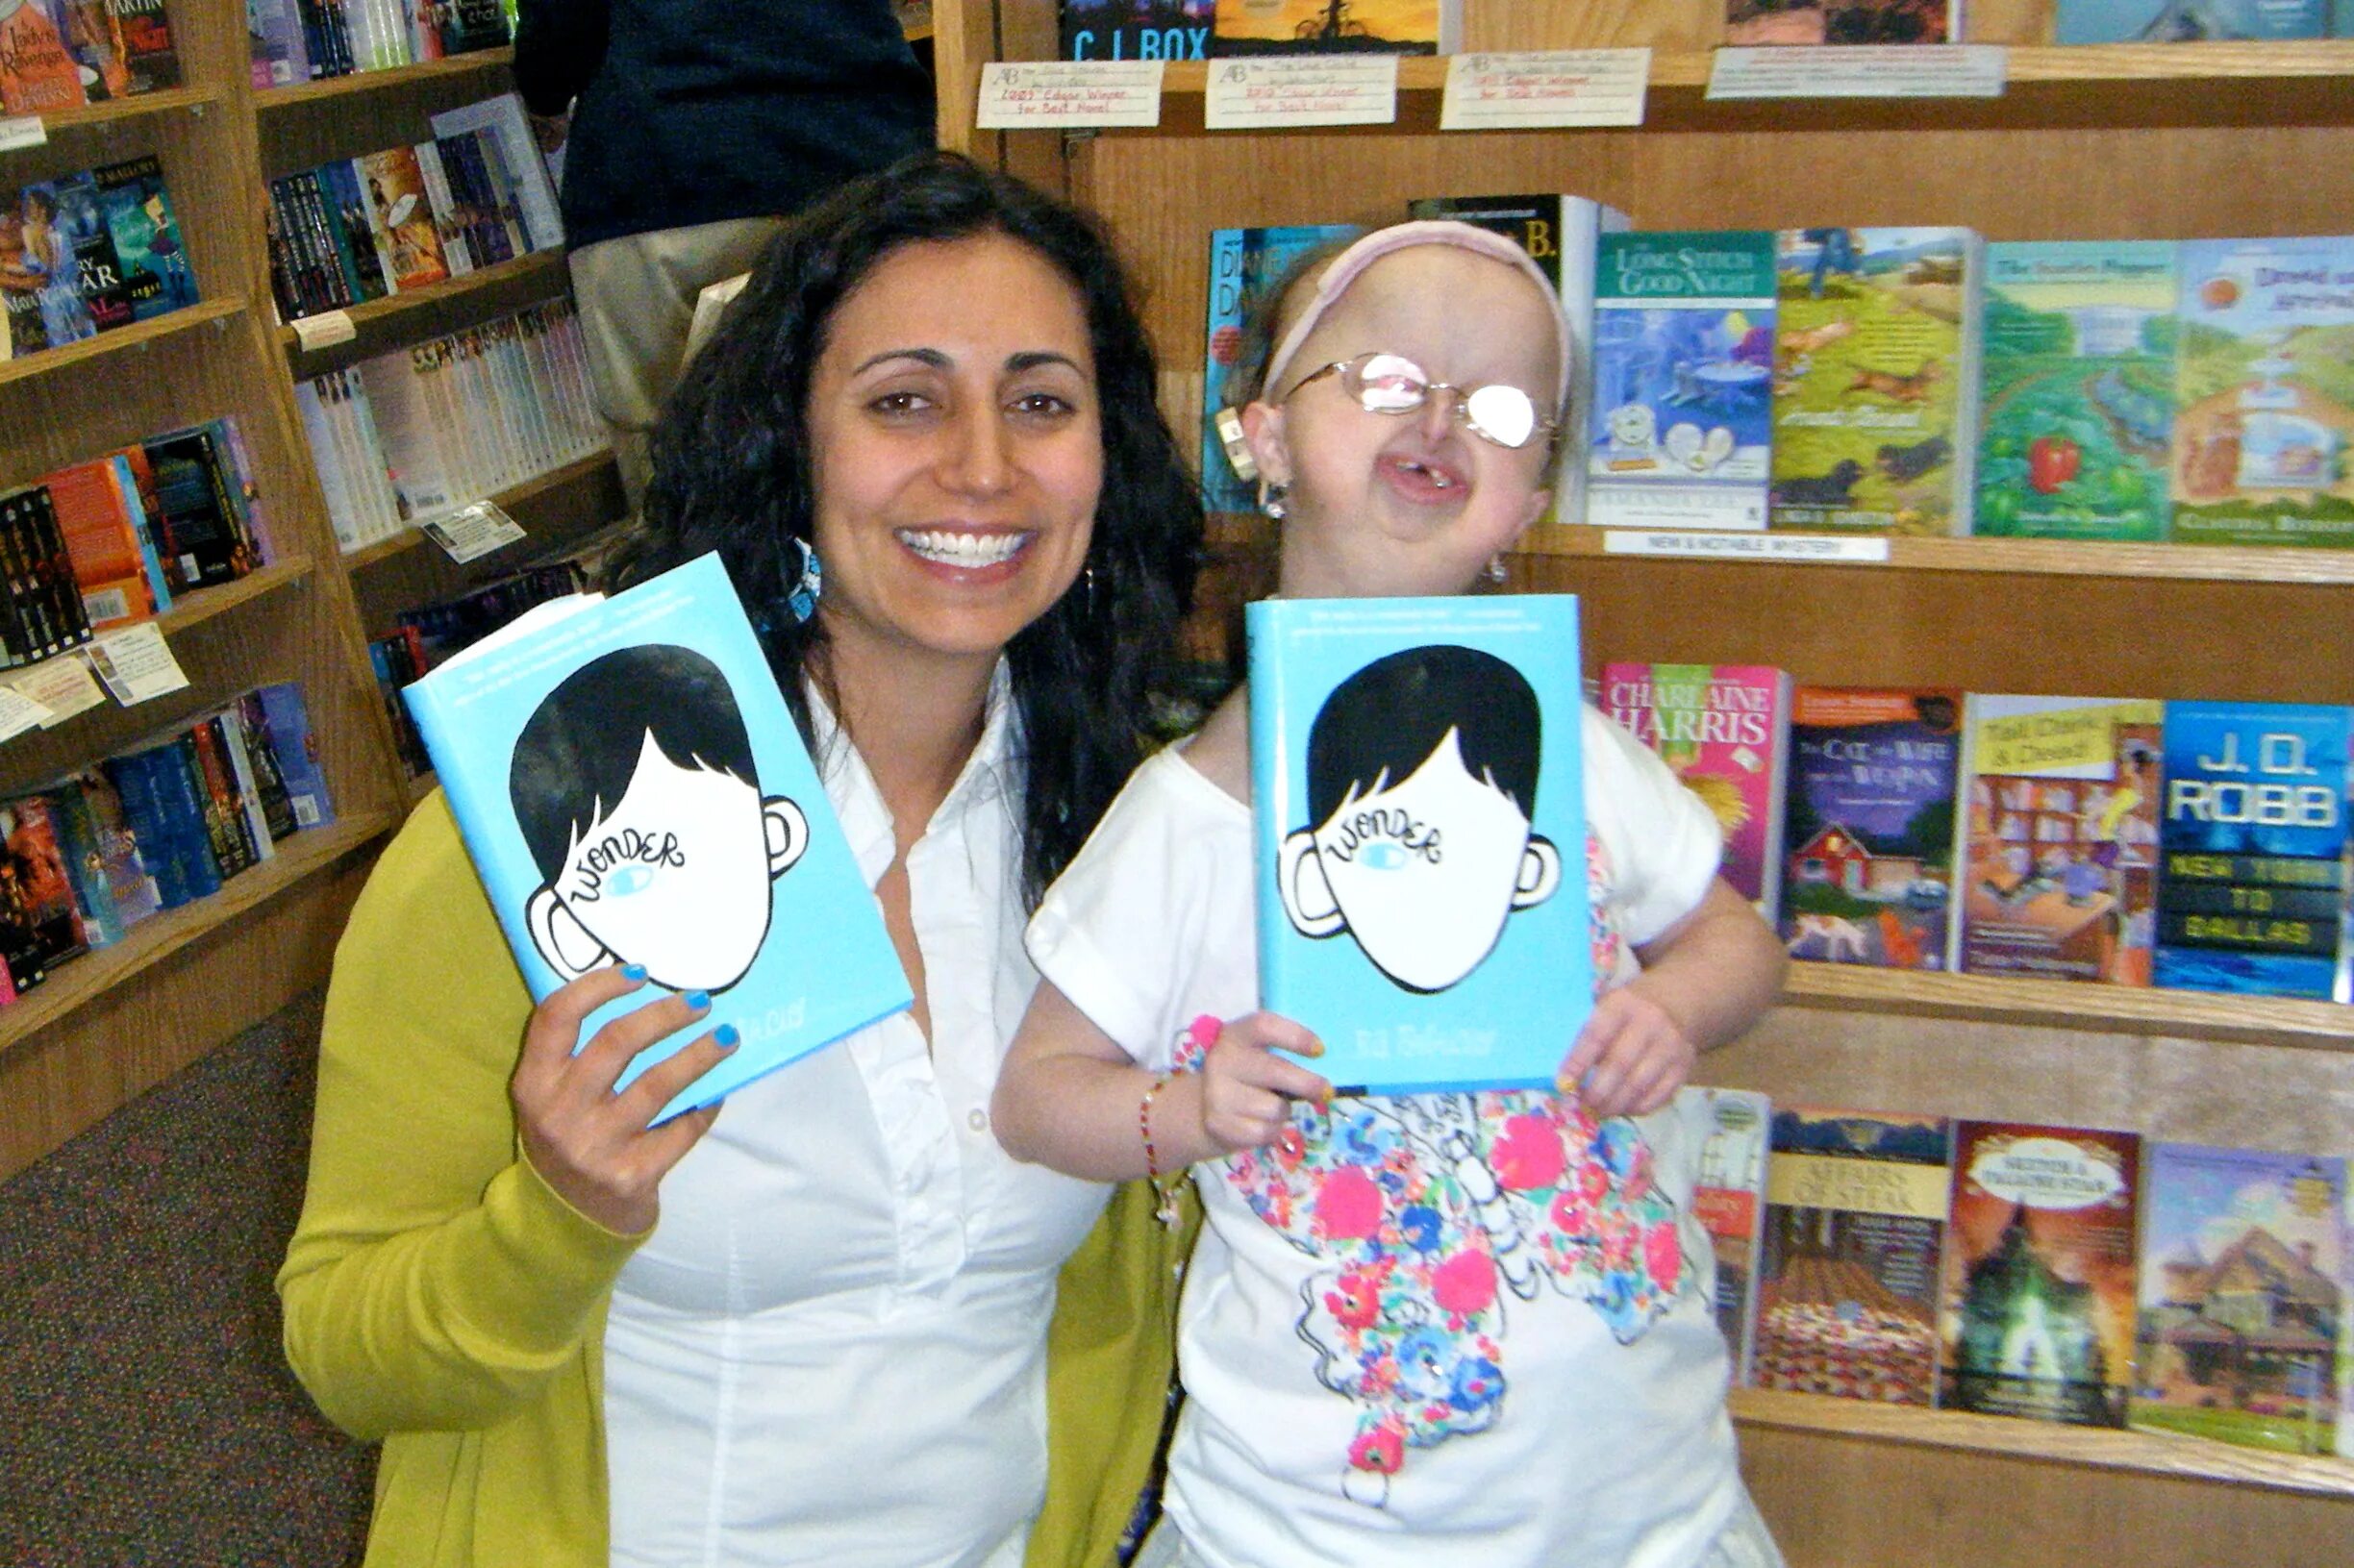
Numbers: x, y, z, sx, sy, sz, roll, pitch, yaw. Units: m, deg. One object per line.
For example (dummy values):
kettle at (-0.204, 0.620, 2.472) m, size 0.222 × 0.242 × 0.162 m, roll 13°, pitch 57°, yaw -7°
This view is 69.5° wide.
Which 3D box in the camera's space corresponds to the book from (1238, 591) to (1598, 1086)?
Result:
book at (0.253, 0.060, 1.749) m, size 0.342 × 0.475 × 0.271 m, roll -2°, pitch 22°, yaw 3°

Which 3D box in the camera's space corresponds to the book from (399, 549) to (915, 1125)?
book at (-0.499, 0.058, 1.645) m, size 0.373 × 0.496 × 0.251 m, roll -13°, pitch 24°, yaw -22°
